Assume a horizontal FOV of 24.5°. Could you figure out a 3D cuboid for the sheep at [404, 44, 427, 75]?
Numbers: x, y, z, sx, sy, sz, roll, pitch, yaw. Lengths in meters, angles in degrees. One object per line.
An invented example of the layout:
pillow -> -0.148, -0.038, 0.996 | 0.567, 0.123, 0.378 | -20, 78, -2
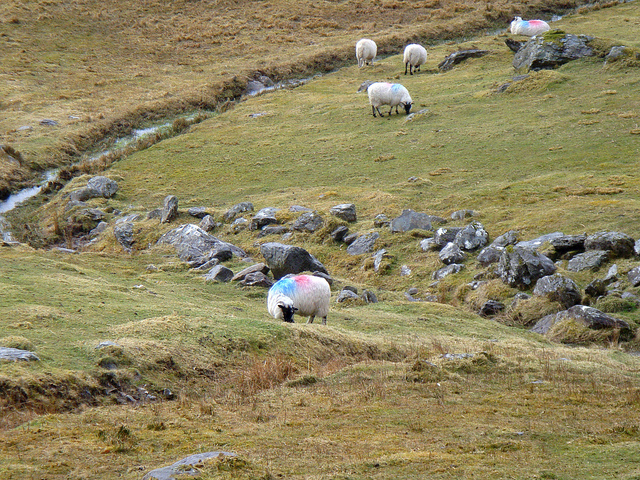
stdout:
sheep -> 7.239, -13.362, 108.754 | 1.736, 2.156, 1.688 | -12, 19, 8
